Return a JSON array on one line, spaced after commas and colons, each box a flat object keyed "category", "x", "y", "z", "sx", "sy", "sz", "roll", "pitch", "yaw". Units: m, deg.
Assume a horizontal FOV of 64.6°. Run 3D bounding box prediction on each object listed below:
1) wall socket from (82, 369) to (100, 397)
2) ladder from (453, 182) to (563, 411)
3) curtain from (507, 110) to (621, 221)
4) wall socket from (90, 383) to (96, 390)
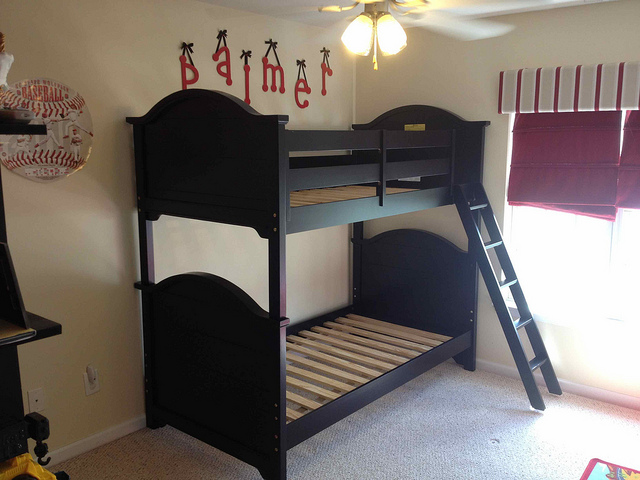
[{"category": "wall socket", "x": -1.549, "y": 0.971, "z": 3.442, "sx": 0.096, "sy": 0.165, "sz": 0.042, "roll": -8, "pitch": 16, "yaw": -29}, {"category": "ladder", "x": 1.522, "y": 0.397, "z": 4.133, "sx": 0.533, "sy": 1.985, "sz": 0.774, "roll": 4, "pitch": 7, "yaw": -10}, {"category": "curtain", "x": 2.017, "y": -0.657, "z": 4.189, "sx": 0.814, "sy": 0.899, "sz": 0.493, "roll": 4, "pitch": 2, "yaw": 27}, {"category": "wall socket", "x": -1.540, "y": 0.993, "z": 3.442, "sx": 0.034, "sy": 0.026, "sz": 0.034, "roll": 11, "pitch": 17, "yaw": 31}]
